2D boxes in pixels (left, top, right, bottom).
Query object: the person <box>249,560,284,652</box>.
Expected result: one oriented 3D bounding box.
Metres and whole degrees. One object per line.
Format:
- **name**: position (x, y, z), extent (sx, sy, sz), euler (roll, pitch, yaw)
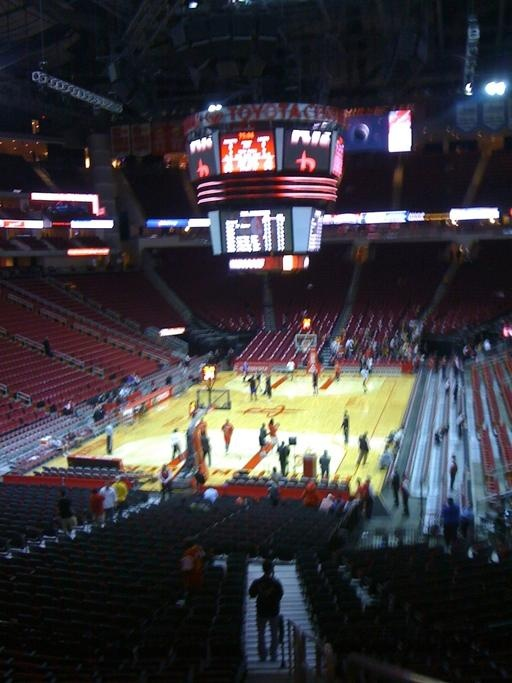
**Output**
- **person**: position (0.088, 2.642, 5.001), extent (0.307, 0.902, 0.455), euler (2, -8, 3)
